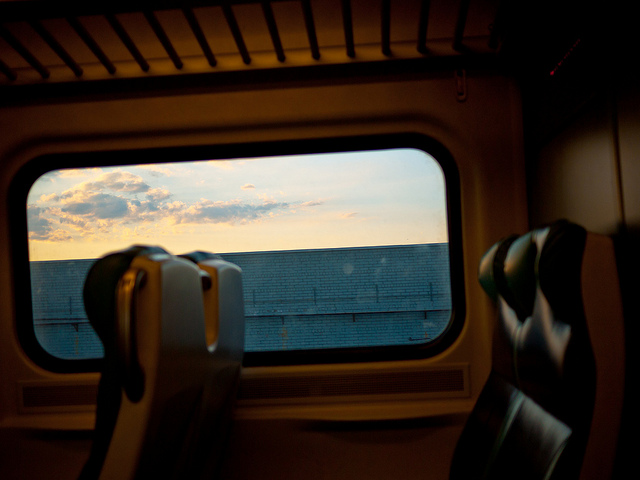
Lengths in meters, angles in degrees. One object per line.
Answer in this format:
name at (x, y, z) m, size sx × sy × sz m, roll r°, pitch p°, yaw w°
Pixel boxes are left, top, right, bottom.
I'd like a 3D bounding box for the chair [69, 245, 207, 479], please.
chair at (-0.612, 0.453, 2.104) m, size 0.233 × 0.864 × 0.478 m, roll -2°, pitch 1°, yaw 40°
